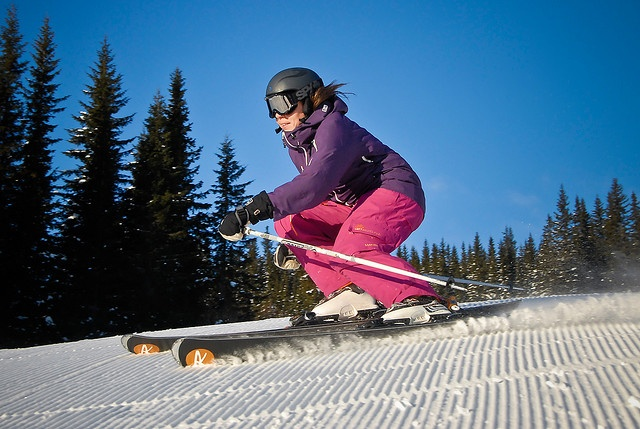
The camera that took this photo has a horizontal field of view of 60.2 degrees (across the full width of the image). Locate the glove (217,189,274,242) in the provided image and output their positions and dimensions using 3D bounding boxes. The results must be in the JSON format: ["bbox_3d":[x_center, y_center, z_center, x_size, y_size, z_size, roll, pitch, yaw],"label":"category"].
[{"bbox_3d":[-0.746,0.019,5.794,0.556,0.469,0.344,-11,-16,33],"label":"glove"}]

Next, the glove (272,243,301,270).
[{"bbox_3d":[-0.401,0.538,6.677,0.355,0.251,0.160,21,-66,-21],"label":"glove"}]
